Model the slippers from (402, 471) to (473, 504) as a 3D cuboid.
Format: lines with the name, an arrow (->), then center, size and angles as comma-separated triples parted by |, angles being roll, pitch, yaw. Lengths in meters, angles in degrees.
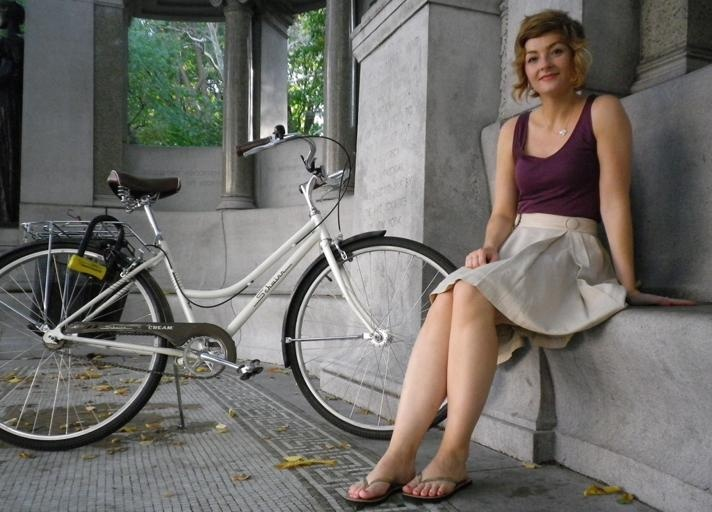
slippers -> 0.316, 0.887, 2.471 | 0.232, 0.054, 0.103 | 6, -7, -37

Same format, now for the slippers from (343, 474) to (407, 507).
slippers -> 0.072, 0.882, 2.454 | 0.235, 0.057, 0.093 | 1, 2, -16

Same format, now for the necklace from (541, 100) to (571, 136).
necklace -> 0.857, -0.590, 2.773 | 0.105, 0.151, 0.050 | 8, 13, 28

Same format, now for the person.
person -> 0.650, -0.071, 2.703 | 1.098, 1.937, 0.623 | -1, 5, -8
